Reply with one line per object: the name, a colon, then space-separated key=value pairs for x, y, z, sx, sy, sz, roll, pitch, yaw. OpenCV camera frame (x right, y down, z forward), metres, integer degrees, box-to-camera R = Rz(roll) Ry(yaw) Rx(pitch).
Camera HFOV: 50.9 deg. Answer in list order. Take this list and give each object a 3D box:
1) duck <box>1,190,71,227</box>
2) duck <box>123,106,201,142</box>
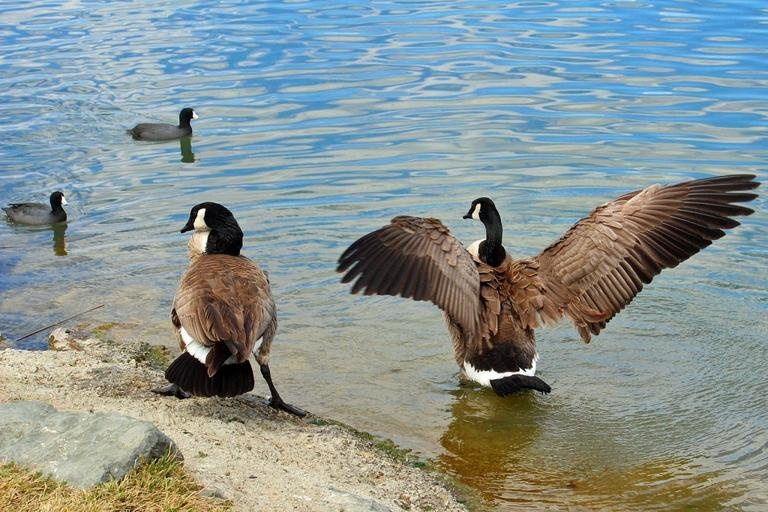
duck: x=-8.110 y=-1.113 z=18.847 sx=1.439 sy=0.933 sz=0.548 roll=14 pitch=30 yaw=27
duck: x=-6.334 y=-3.743 z=22.980 sx=1.784 sy=0.965 sz=0.855 roll=-2 pitch=26 yaw=-11
